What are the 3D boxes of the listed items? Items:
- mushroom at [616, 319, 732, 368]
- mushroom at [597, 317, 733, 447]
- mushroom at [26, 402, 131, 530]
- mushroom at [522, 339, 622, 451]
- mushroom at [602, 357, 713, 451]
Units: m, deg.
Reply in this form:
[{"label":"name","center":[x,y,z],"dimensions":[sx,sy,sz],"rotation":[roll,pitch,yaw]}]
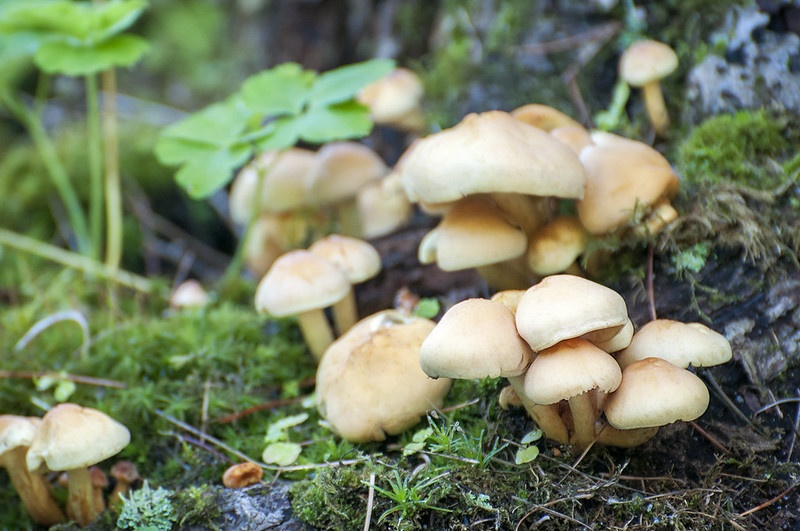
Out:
[{"label":"mushroom","center":[1.448,0.435,4.392],"dimensions":[0.325,0.335,0.141],"rotation":[6,81,-11]},{"label":"mushroom","center":[1.329,0.640,4.469],"dimensions":[0.599,0.638,0.341],"rotation":[-15,90,6]},{"label":"mushroom","center":[-1.836,1.172,4.761],"dimensions":[0.449,0.587,0.450],"rotation":[27,38,34]},{"label":"mushroom","center":[0.960,0.639,4.500],"dimensions":[0.506,0.622,0.564],"rotation":[7,33,18]},{"label":"mushroom","center":[1.347,0.708,4.339],"dimensions":[0.454,0.348,0.459],"rotation":[-37,28,-32]}]
